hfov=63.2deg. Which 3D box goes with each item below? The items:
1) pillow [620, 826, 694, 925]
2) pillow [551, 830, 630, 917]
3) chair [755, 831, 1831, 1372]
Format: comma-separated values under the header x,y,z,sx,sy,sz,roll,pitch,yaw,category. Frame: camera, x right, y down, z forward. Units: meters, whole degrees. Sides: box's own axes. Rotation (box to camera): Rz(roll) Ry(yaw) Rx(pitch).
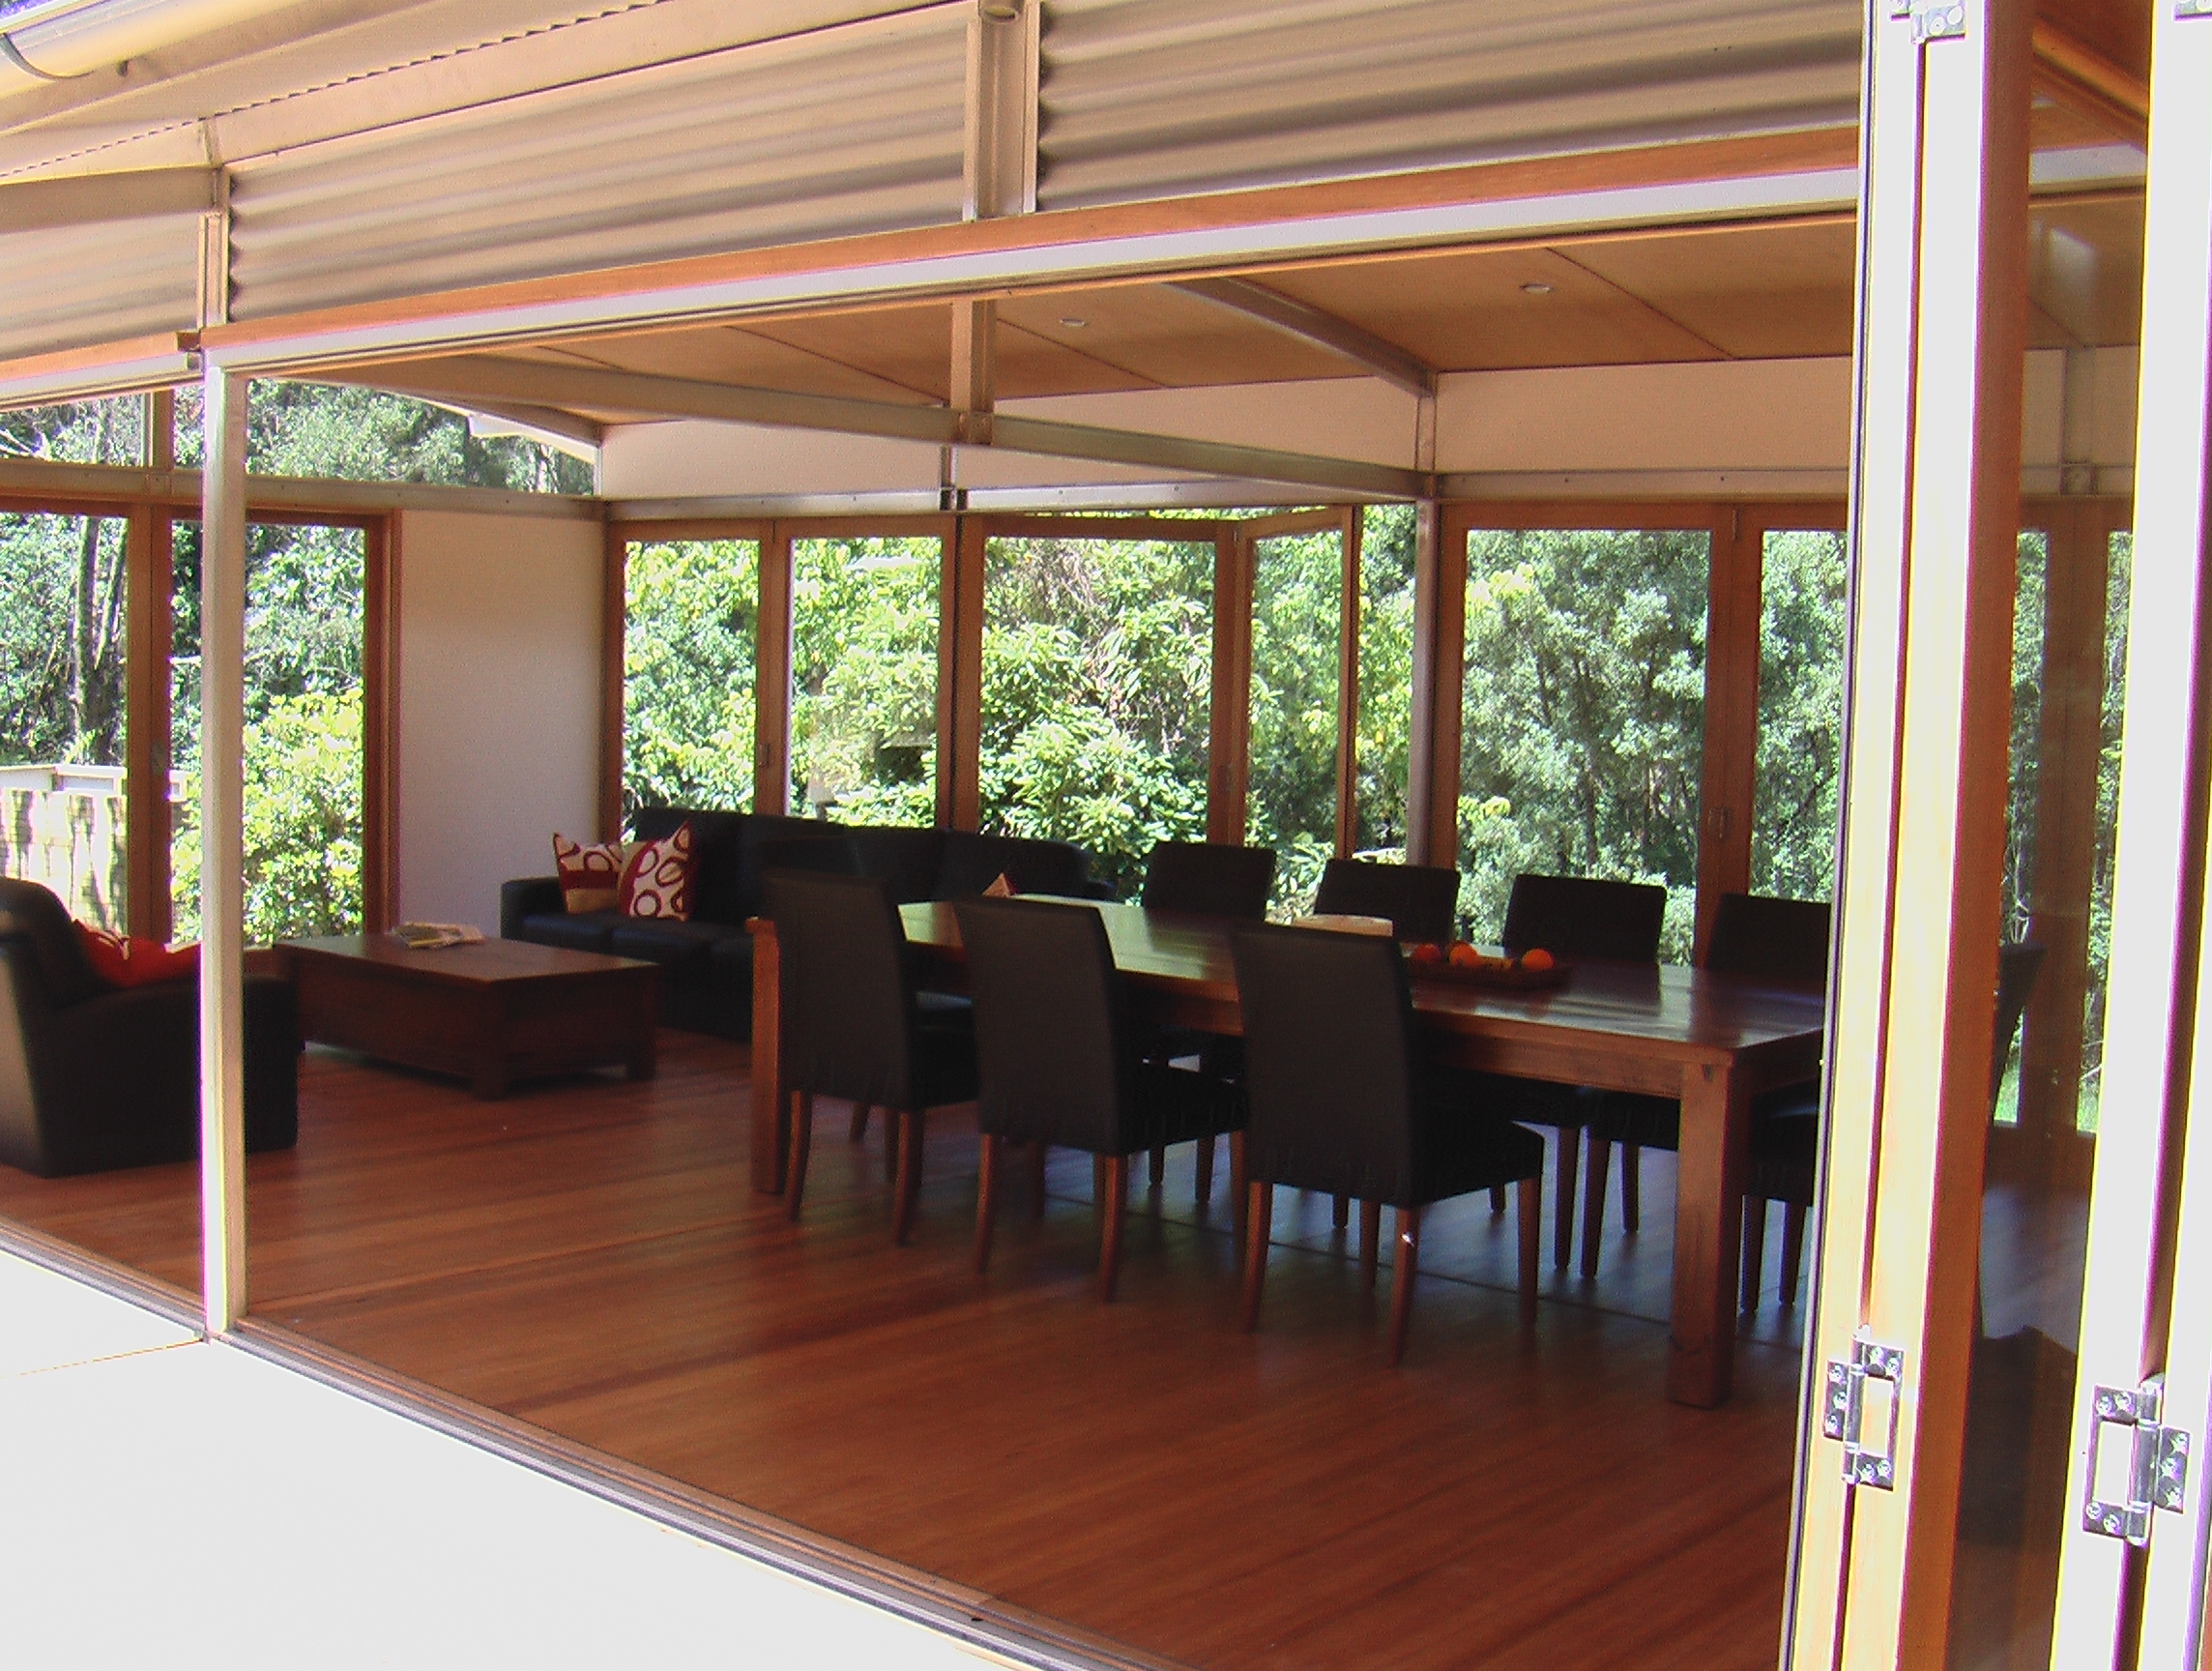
x,y,z,sx,sy,sz,roll,pitch,yaw,category
-2.288,0.229,9.123,0.455,0.434,0.162,3,-10,34,pillow
-2.684,0.220,9.355,0.409,0.383,0.123,0,-12,-14,pillow
0.520,0.805,5.634,3.294,1.014,1.456,2,2,30,chair
